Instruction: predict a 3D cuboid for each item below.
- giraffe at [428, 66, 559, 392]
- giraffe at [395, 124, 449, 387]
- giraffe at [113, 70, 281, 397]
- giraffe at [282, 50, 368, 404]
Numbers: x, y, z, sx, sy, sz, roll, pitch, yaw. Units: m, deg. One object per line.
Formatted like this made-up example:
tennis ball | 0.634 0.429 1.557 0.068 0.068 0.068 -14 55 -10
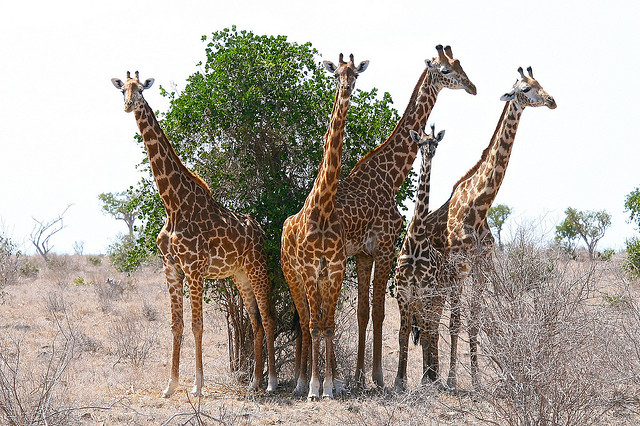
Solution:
giraffe | 3.050 0.281 13.471 1.959 6.184 2.536 -1 -15 9
giraffe | 1.986 0.666 13.897 1.015 5.329 2.038 0 -15 6
giraffe | -2.306 0.627 14.615 3.128 6.160 3.489 2 -15 -1
giraffe | -0.008 0.339 13.789 1.351 6.445 3.553 2 -15 -3
